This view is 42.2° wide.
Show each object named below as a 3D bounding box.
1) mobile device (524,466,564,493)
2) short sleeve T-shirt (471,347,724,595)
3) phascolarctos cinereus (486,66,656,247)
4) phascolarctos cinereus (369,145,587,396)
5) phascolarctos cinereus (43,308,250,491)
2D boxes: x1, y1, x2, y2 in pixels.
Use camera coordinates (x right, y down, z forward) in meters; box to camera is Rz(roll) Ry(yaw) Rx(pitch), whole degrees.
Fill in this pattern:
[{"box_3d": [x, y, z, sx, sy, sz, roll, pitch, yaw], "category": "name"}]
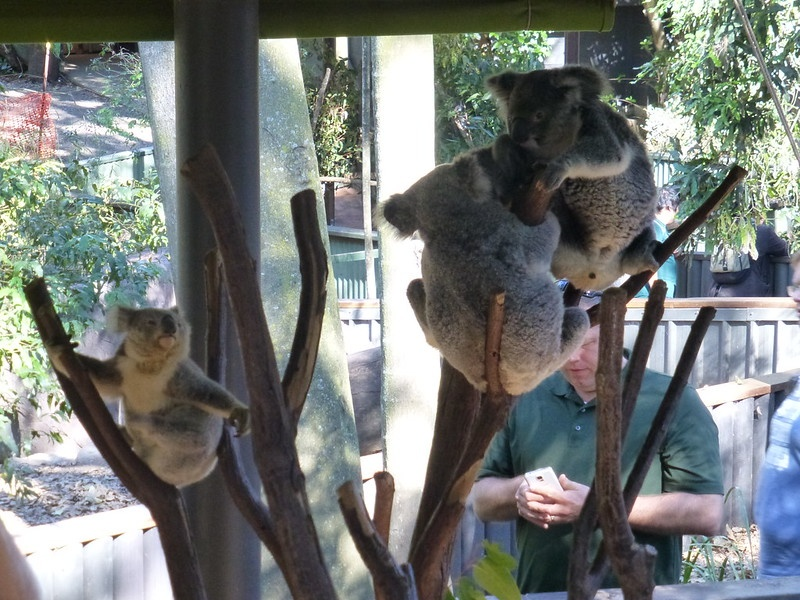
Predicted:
[{"box_3d": [0.527, 0.666, 3.809, 0.155, 0.082, 0.105, 1, 8, 18], "category": "mobile device"}, {"box_3d": [0.783, 0.607, 4.156, 1.292, 1.130, 0.735, -3, -10, 32], "category": "short sleeve T-shirt"}, {"box_3d": [0.450, -0.355, 2.671, 0.286, 0.490, 0.288, -48, 13, -22], "category": "phascolarctos cinereus"}, {"box_3d": [0.191, -0.062, 2.518, 0.221, 0.607, 0.410, -1, -9, -42], "category": "phascolarctos cinereus"}, {"box_3d": [-0.621, 0.215, 2.620, 0.353, 0.574, 0.308, -20, 38, 12], "category": "phascolarctos cinereus"}]
